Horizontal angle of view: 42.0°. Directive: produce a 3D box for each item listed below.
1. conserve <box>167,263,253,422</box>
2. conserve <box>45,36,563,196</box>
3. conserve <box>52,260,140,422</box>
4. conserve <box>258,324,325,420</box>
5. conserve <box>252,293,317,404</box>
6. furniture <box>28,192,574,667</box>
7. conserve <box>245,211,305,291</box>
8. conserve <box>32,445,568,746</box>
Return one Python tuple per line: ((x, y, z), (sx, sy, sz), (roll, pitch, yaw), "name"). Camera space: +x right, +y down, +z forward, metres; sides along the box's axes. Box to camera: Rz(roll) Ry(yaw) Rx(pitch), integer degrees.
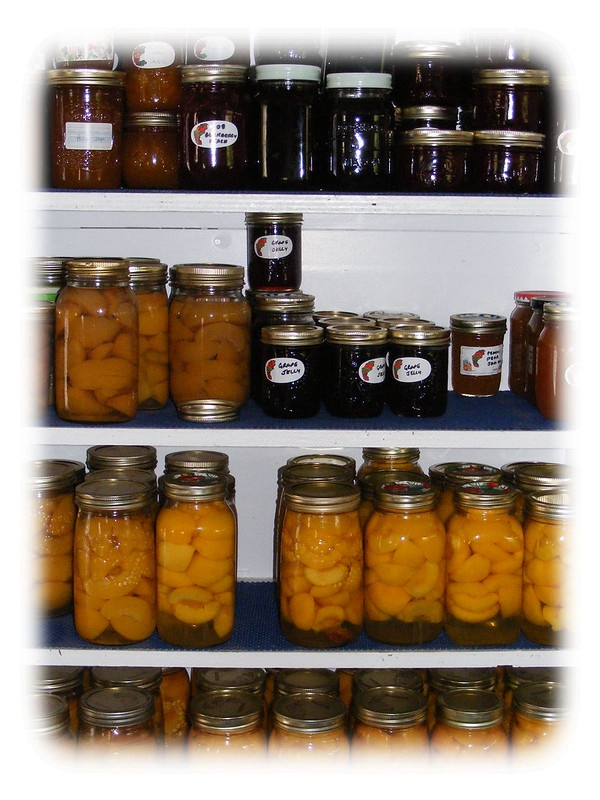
((-0.179, -0.127, 1.518), (0.158, 0.267, 0.106), (2, 10, -1), "conserve")
((0.010, -0.518, 1.419), (0.916, 0.312, 0.413), (-1, 10, -13), "conserve")
((-0.365, -0.105, 1.402), (0.142, 0.286, 0.088), (-1, 11, -14), "conserve")
((-0.004, -0.051, 1.489), (0.135, 0.174, 0.127), (5, 7, 31), "conserve")
((-0.038, -0.102, 1.592), (0.146, 0.200, 0.133), (-1, 7, -10), "conserve")
((-0.016, 0.060, 1.489), (1.172, 0.820, 0.369), (-1, 2, -5), "furniture")
((-0.060, -0.311, 1.613), (0.130, 0.159, 0.108), (-2, 16, -2), "conserve")
((0.034, 0.422, 1.549), (1.040, 0.585, 0.355), (1, 10, -6), "conserve")
